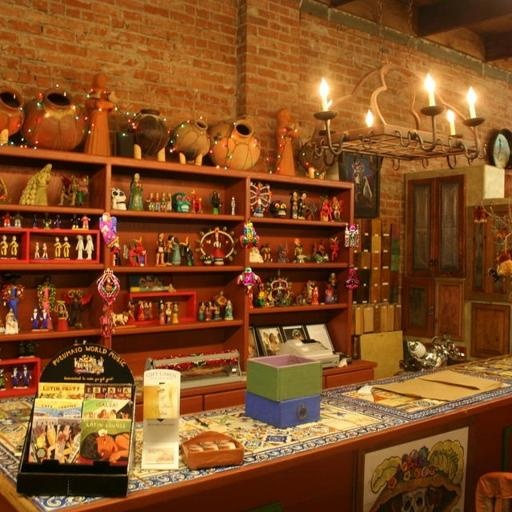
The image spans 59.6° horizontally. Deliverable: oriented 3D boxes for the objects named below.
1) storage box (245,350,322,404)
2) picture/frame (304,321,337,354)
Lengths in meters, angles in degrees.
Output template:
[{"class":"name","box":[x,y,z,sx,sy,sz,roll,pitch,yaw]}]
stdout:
[{"class":"storage box","box":[0.128,0.470,1.764,0.200,0.118,0.198,1,0,-34]},{"class":"picture/frame","box":[0.579,0.736,4.073,0.323,0.382,0.052,0,-35,-42]}]
